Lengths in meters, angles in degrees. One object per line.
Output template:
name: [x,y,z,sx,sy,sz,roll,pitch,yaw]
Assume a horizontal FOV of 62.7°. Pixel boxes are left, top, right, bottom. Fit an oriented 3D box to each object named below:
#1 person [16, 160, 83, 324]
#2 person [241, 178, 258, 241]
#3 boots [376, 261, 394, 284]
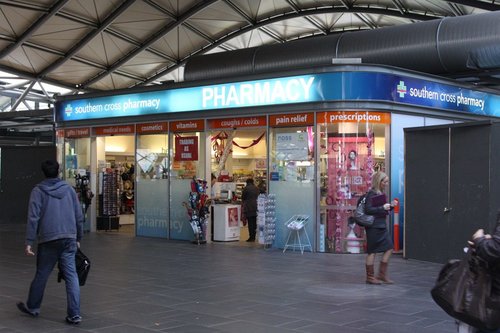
person: [-2.738,1.014,5.717,0.804,2.231,0.492,1,-2,-13]
person: [-0.004,1.372,13.095,0.536,1.948,0.641,0,-2,0]
boots: [2.577,2.004,7.790,0.158,0.366,0.382,-3,8,-34]
